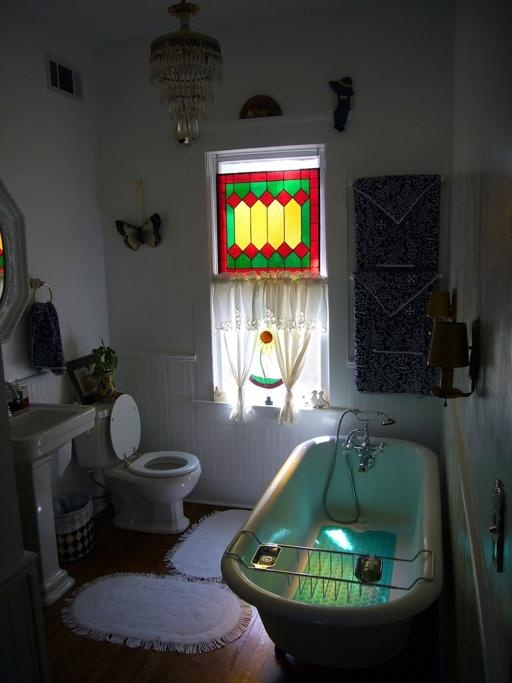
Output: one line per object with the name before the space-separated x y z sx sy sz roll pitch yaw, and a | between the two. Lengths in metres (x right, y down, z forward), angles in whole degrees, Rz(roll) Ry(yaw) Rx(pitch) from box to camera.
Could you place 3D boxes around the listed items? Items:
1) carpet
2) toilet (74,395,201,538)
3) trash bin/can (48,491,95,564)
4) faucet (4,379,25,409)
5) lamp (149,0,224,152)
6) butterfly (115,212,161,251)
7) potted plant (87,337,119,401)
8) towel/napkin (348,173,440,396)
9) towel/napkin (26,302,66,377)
carpet | -0.470 1.266 2.508 0.917 0.022 0.584 0 7 11
toilet | -0.741 0.757 3.622 0.900 1.046 0.602 1 8 9
trash bin/can | -1.037 1.036 3.068 0.255 0.312 0.286 -12 18 -33
faucet | -1.249 0.279 2.729 0.053 0.150 0.147 0 6 8
lamp | -0.266 -0.962 1.987 0.266 0.380 0.172 -2 6 -6
butterfly | -0.780 -0.756 3.518 0.238 0.192 0.054 0 22 9
potted plant | -1.017 0.183 3.481 0.163 0.332 0.382 -3 7 -18
towel/napkin | 0.799 -0.318 3.045 0.470 1.249 0.104 0 6 12
towel/napkin | -1.194 -0.025 2.969 0.165 0.415 0.169 3 7 30
